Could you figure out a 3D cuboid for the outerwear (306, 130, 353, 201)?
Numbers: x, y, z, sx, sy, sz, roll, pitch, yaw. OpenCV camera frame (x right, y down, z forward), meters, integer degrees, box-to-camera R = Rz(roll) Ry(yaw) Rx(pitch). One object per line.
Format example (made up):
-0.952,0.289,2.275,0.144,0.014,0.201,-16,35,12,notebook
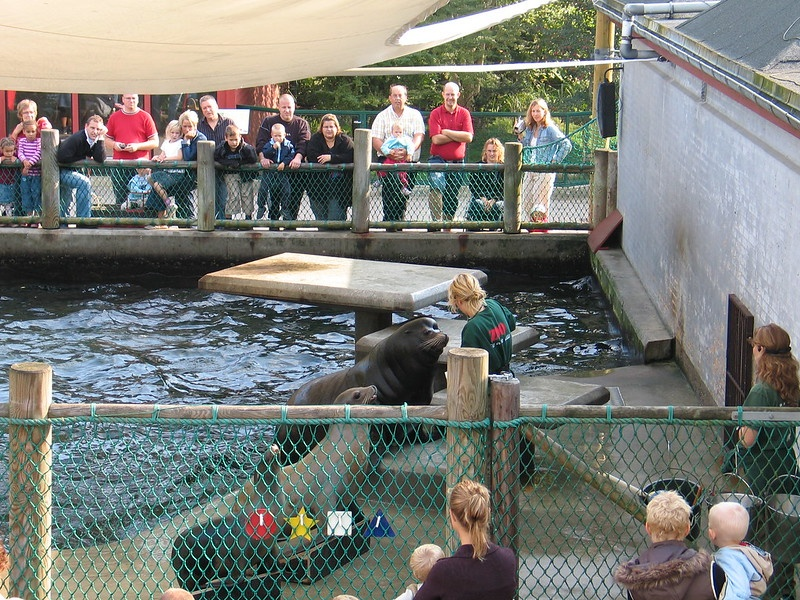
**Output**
-0.791,-1.543,16.899,0.629,1.021,0.656,1,-6,-10,outerwear

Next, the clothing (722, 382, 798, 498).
2.278,0.904,8.983,0.424,1.032,0.459,-2,-14,30,clothing

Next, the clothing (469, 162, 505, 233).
1.024,-1.214,16.847,0.435,0.606,0.047,-2,-15,6,clothing

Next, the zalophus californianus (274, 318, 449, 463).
-0.299,0.810,10.848,1.508,0.669,0.759,-39,-2,15,zalophus californianus

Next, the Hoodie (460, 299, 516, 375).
0.619,0.267,10.101,0.184,0.449,0.524,3,14,27,Hoodie

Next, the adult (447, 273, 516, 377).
0.620,0.183,10.409,0.507,0.720,0.279,-2,4,-33,adult

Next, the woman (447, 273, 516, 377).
0.620,0.183,10.409,0.507,0.720,0.279,-2,4,-33,woman

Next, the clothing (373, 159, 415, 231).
-0.014,-1.246,16.853,0.520,0.677,0.547,-6,-2,2,clothing

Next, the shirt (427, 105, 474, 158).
0.611,-1.972,17.241,0.514,0.678,0.359,2,9,-7,shirt
